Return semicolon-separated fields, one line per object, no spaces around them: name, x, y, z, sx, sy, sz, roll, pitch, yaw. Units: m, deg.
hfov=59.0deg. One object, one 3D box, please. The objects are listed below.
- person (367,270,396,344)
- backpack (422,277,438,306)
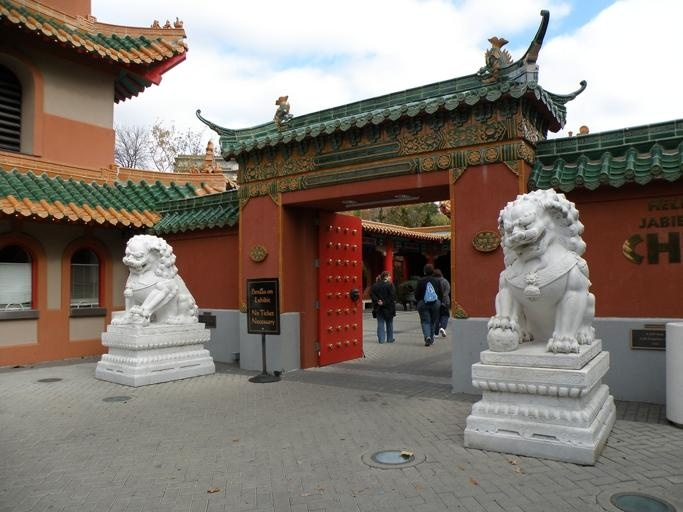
person;1.099;1.316;15.741;0.600;1.977;1.272;0;7;5
backpack;2.154;0.859;14.743;0.551;0.798;0.366;0;13;11
